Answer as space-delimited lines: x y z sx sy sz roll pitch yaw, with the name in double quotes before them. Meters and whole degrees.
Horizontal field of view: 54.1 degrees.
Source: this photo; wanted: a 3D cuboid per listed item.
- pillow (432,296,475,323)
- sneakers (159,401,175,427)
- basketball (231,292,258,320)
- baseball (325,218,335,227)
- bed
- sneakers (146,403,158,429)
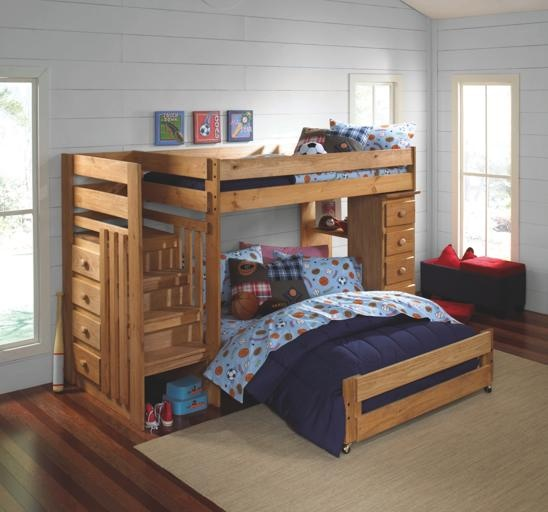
"pillow" 1.591 0.459 4.726 0.223 0.065 0.315 12 11 38
"sneakers" -0.603 0.882 3.005 0.064 0.062 0.161 -2 7 -13
"basketball" -0.179 0.308 3.607 0.201 0.180 0.190 -9 15 -1
"baseball" 0.483 -0.293 4.604 0.062 0.062 0.080 -1 -5 28
"bed" 0.344 -0.045 3.892 2.306 1.625 2.259 -9 11 -42
"sneakers" -0.678 0.888 2.960 0.065 0.058 0.154 -2 6 -13
